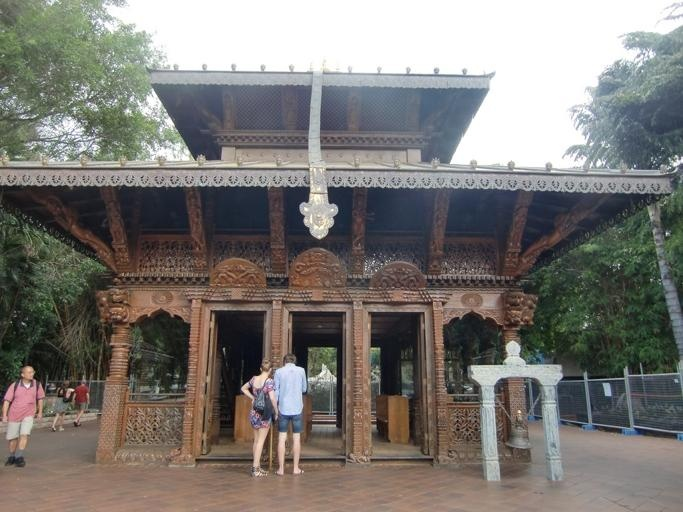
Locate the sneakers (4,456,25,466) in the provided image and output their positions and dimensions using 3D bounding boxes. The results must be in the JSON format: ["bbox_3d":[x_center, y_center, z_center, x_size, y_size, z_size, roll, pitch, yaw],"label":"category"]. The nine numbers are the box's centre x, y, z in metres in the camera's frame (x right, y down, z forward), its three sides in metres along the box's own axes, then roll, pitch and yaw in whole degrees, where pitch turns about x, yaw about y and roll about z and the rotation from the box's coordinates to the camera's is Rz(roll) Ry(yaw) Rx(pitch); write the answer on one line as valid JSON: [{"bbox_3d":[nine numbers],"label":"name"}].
[{"bbox_3d":[-7.556,4.714,12.050,0.533,0.213,0.266,0,-8,4],"label":"sneakers"}]

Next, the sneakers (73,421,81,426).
[{"bbox_3d":[-10.827,6.877,21.303,0.167,0.219,0.531,1,-29,-9],"label":"sneakers"}]
